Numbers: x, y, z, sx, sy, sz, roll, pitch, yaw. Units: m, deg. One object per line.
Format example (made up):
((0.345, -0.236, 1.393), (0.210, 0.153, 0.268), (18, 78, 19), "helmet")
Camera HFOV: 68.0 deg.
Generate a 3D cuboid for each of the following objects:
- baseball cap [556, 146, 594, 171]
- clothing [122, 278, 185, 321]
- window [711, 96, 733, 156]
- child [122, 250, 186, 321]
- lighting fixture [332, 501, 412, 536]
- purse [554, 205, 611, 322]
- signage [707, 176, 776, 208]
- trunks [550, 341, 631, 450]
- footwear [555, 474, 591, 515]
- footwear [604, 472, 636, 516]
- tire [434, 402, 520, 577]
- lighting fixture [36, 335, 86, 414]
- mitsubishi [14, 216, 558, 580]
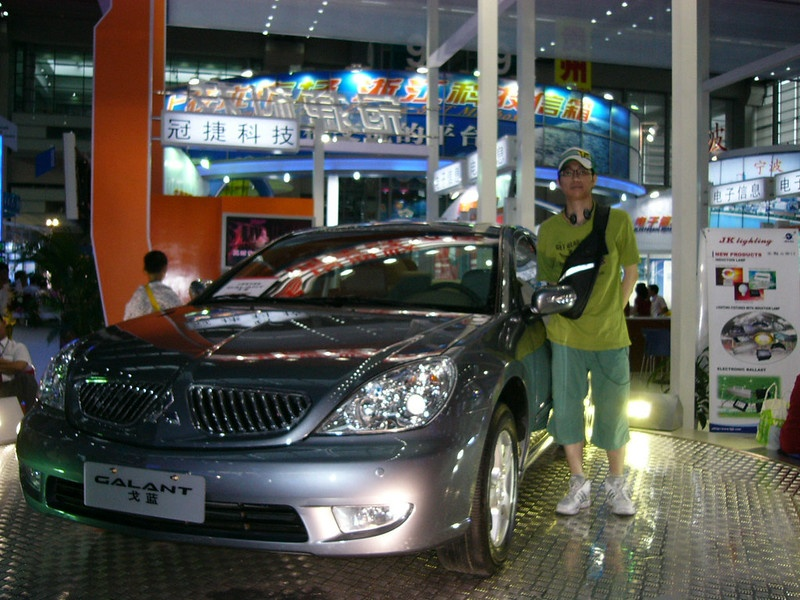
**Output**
((1.017, -0.820, 3.436), (0.193, 0.150, 0.229), (3, 4, 22), "baseball cap")
((-2.129, -0.080, 5.148), (0.475, 0.267, 0.330), (-18, -30, -26), "clothing")
((15.209, -8.151, 28.625), (1.216, 3.128, 0.297), (4, -3, 0), "window")
((-2.145, -0.094, 5.235), (0.502, 0.656, 0.353), (-4, -16, -19), "child")
((-0.094, 0.797, 2.155), (0.185, 0.081, 0.151), (-6, -8, -36), "lighting fixture")
((1.040, -0.209, 3.382), (0.177, 0.613, 0.346), (27, -12, -5), "purse")
((8.944, -2.892, 15.668), (1.730, 0.656, 0.296), (1, 1, 44), "signage")
((1.108, 0.482, 3.456), (0.475, 0.912, 0.296), (1, 30, 16), "trunks")
((0.980, 1.105, 3.363), (0.333, 0.190, 0.116), (-1, -7, -45), "footwear")
((1.240, 1.107, 3.348), (0.171, 0.182, 0.159), (3, 4, 22), "footwear")
((0.301, 0.787, 2.431), (0.221, 0.727, 0.709), (-1, -8, 16), "tire")
((-1.514, 0.333, 2.662), (0.188, 0.154, 0.334), (21, 20, 1), "lighting fixture")
((-0.063, 0.127, 3.154), (1.519, 1.084, 2.482), (-2, -5, 26), "mitsubishi")
